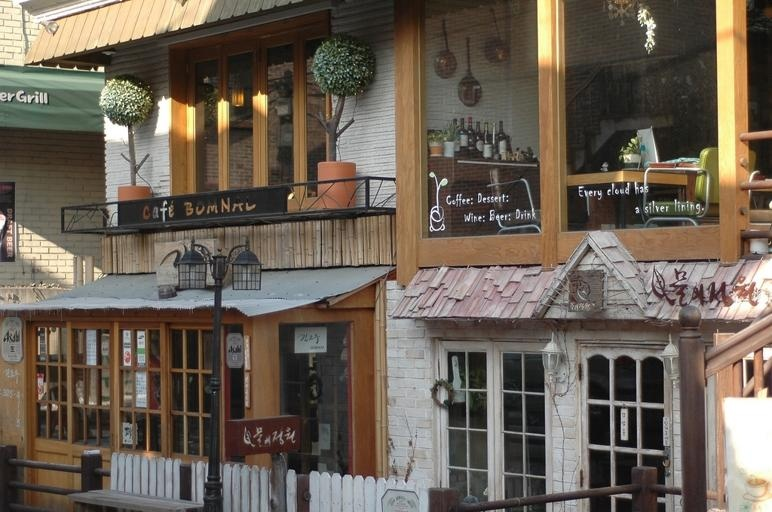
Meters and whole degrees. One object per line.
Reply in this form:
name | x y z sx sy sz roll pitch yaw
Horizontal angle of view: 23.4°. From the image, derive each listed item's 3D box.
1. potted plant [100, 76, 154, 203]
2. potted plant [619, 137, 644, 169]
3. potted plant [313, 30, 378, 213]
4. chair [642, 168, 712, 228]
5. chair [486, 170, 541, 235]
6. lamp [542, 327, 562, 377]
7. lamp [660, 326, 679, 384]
potted plant | -4.371 -1.972 30.904 0.839 2.159 0.649 2 -8 -21
potted plant | 3.415 -1.460 26.299 0.373 0.556 0.376 1 -5 1
potted plant | -0.793 -2.053 28.497 1.022 2.700 0.796 -8 -11 43
chair | 4.013 -0.877 25.747 0.779 1.135 0.847 1 -3 -1
chair | 1.834 -0.766 27.073 0.743 1.020 0.735 -4 -2 -38
lamp | 2.353 1.415 26.574 0.257 0.651 0.221 -4 -8 20
lamp | 3.906 1.396 25.637 0.213 0.701 0.382 -2 -8 11
